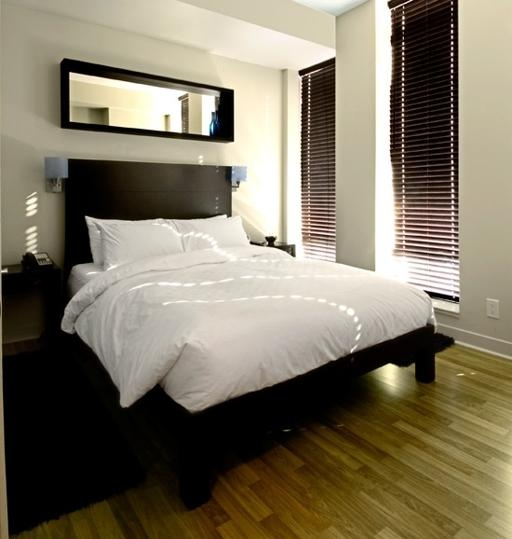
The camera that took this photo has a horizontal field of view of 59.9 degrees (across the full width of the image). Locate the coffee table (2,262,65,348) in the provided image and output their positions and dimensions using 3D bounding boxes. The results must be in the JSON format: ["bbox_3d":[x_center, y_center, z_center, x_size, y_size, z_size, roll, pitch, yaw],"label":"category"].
[{"bbox_3d":[-1.664,0.267,3.300,0.259,0.566,0.512,4,4,43],"label":"coffee table"}]

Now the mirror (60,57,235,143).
[{"bbox_3d":[-0.900,-1.425,3.896,1.569,0.529,0.195,-9,14,-36],"label":"mirror"}]

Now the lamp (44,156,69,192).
[{"bbox_3d":[-1.530,-0.725,3.398,0.157,0.284,0.166,8,21,4],"label":"lamp"}]

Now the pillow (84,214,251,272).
[{"bbox_3d":[-0.695,-0.241,3.622,1.211,0.336,0.496,-9,15,-38],"label":"pillow"}]
